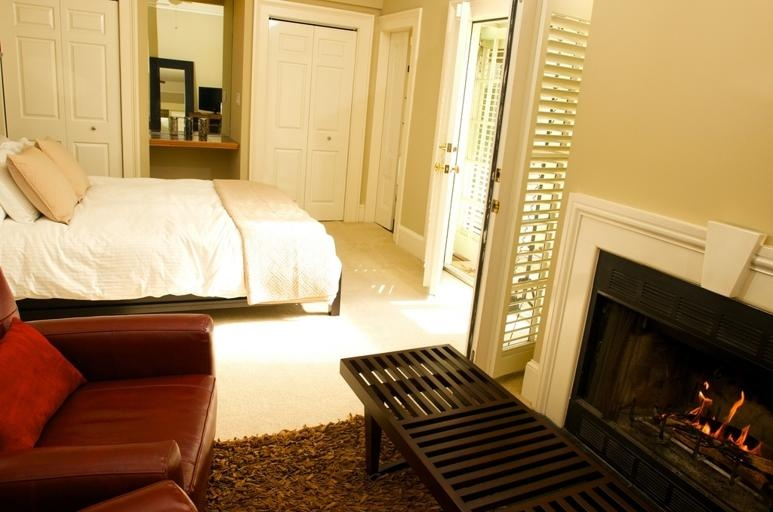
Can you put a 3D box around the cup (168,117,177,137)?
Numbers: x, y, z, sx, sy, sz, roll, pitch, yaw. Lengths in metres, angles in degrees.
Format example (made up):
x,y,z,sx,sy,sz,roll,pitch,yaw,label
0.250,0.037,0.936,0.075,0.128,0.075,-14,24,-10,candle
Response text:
x,y,z,sx,sy,sz,roll,pitch,yaw,label
-2.625,-1.612,6.717,0.109,0.215,0.341,-6,23,-20,cup

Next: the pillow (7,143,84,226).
x,y,z,sx,sy,sz,roll,pitch,yaw,label
-2.418,-0.492,3.839,0.291,0.253,0.634,7,24,-19,pillow
